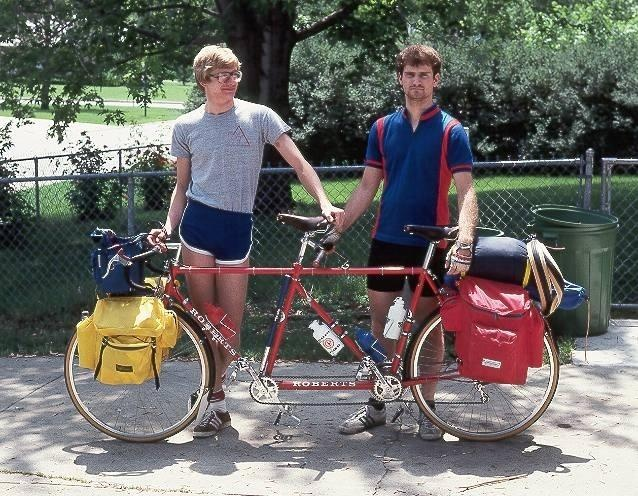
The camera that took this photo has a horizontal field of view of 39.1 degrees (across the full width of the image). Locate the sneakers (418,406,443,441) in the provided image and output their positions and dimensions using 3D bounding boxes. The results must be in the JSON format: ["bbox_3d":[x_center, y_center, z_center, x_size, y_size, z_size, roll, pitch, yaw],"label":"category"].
[{"bbox_3d":[0.788,1.237,6.301,0.227,0.142,0.400,0,-4,1],"label":"sneakers"}]

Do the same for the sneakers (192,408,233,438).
[{"bbox_3d":[-0.746,1.256,6.396,0.115,0.125,0.311,-6,-6,37],"label":"sneakers"}]

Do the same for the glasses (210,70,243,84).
[{"bbox_3d":[-0.606,-1.150,6.115,0.239,0.091,0.100,-4,6,-35],"label":"glasses"}]

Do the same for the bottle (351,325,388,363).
[{"bbox_3d":[0.379,0.685,6.328,0.145,0.280,0.103,-44,-18,25],"label":"bottle"}]

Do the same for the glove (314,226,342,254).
[{"bbox_3d":[0.079,-0.033,6.179,0.118,0.201,0.074,39,26,-7],"label":"glove"}]

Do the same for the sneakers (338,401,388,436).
[{"bbox_3d":[0.328,1.224,6.477,0.416,0.160,0.132,-4,1,-36],"label":"sneakers"}]

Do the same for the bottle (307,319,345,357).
[{"bbox_3d":[0.119,0.620,6.273,0.156,0.267,0.155,-14,6,2],"label":"bottle"}]

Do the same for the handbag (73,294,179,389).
[{"bbox_3d":[-1.311,0.625,6.254,0.700,0.573,0.454,-2,10,-10],"label":"handbag"}]

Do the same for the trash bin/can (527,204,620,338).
[{"bbox_3d":[2.353,0.257,8.191,0.749,1.038,0.889,2,10,36],"label":"trash bin/can"}]

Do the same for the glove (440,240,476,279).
[{"bbox_3d":[0.943,0.082,5.972,0.198,0.139,0.077,-17,22,-20],"label":"glove"}]

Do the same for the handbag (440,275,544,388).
[{"bbox_3d":[1.219,0.568,6.096,0.720,0.657,0.409,3,15,2],"label":"handbag"}]
